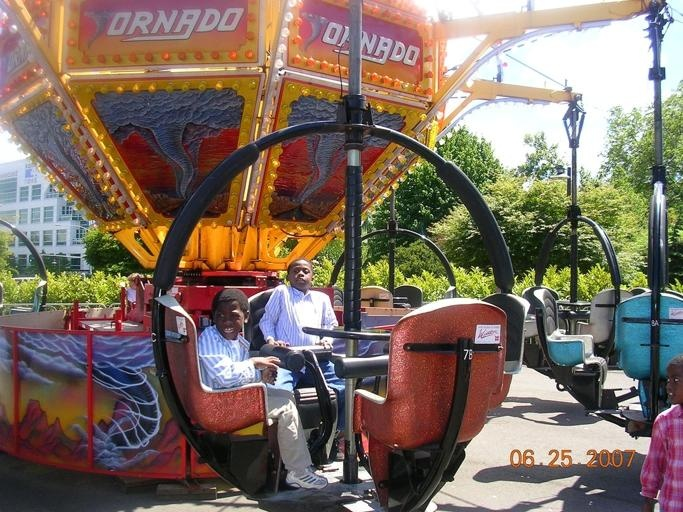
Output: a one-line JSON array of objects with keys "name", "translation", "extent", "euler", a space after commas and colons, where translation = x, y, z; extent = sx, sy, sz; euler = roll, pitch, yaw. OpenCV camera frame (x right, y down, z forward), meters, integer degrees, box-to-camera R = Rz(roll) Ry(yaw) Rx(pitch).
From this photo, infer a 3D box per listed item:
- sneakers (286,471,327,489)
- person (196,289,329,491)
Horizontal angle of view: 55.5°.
[{"name": "sneakers", "translation": [-0.283, 1.877, 5.393], "extent": [0.393, 0.168, 0.145], "euler": [1, -7, -1]}, {"name": "person", "translation": [-0.635, 1.088, 5.212], "extent": [1.019, 1.652, 0.672], "euler": [1, -2, -17]}]
